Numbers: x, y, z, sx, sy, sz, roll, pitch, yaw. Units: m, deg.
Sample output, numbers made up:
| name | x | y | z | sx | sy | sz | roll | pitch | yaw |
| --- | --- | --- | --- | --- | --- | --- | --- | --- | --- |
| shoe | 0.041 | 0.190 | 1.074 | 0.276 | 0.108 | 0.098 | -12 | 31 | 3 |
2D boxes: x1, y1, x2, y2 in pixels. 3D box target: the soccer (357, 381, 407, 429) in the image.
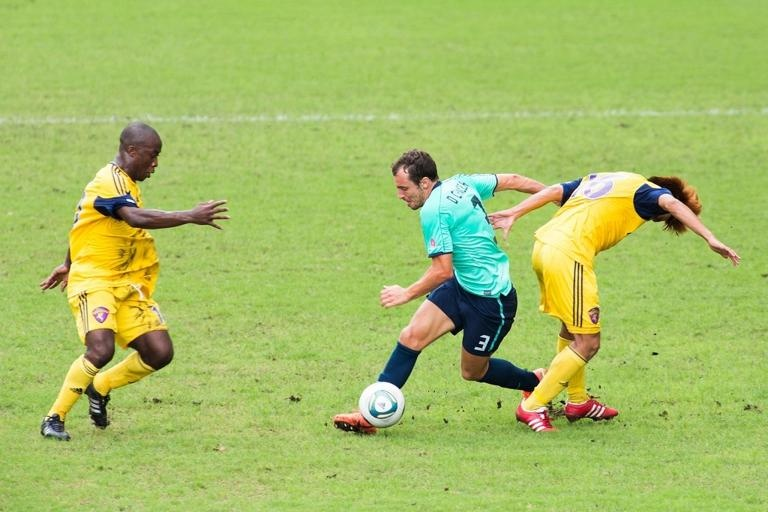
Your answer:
| name | x | y | z | sx | sy | sz | roll | pitch | yaw |
| --- | --- | --- | --- | --- | --- | --- | --- | --- | --- |
| soccer | -0.021 | 1.558 | 12.138 | 0.523 | 0.440 | 0.261 | 21 | -2 | -3 |

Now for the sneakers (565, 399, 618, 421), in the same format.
| name | x | y | z | sx | sy | sz | roll | pitch | yaw |
| --- | --- | --- | --- | --- | --- | --- | --- | --- | --- |
| sneakers | 2.197 | 1.638 | 12.524 | 0.699 | 0.268 | 0.205 | -2 | 7 | -5 |

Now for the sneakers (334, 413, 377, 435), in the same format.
| name | x | y | z | sx | sy | sz | roll | pitch | yaw |
| --- | --- | --- | --- | --- | --- | --- | --- | --- | --- |
| sneakers | -0.315 | 1.763 | 12.224 | 0.393 | 0.142 | 0.217 | 6 | 4 | -2 |

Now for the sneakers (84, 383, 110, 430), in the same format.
| name | x | y | z | sx | sy | sz | roll | pitch | yaw |
| --- | --- | --- | --- | --- | --- | --- | --- | --- | --- |
| sneakers | -3.015 | 1.595 | 12.393 | 0.301 | 0.505 | 0.192 | -6 | 9 | 16 |

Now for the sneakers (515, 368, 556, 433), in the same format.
| name | x | y | z | sx | sy | sz | roll | pitch | yaw |
| --- | --- | --- | --- | --- | --- | --- | --- | --- | --- |
| sneakers | 1.598 | 1.599 | 12.450 | 0.283 | 0.542 | 0.215 | -22 | -17 | 15 |

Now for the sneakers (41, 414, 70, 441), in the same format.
| name | x | y | z | sx | sy | sz | roll | pitch | yaw |
| --- | --- | --- | --- | --- | --- | --- | --- | --- | --- |
| sneakers | -3.412 | 1.766 | 12.107 | 0.301 | 0.234 | 0.195 | 6 | 13 | -13 |
